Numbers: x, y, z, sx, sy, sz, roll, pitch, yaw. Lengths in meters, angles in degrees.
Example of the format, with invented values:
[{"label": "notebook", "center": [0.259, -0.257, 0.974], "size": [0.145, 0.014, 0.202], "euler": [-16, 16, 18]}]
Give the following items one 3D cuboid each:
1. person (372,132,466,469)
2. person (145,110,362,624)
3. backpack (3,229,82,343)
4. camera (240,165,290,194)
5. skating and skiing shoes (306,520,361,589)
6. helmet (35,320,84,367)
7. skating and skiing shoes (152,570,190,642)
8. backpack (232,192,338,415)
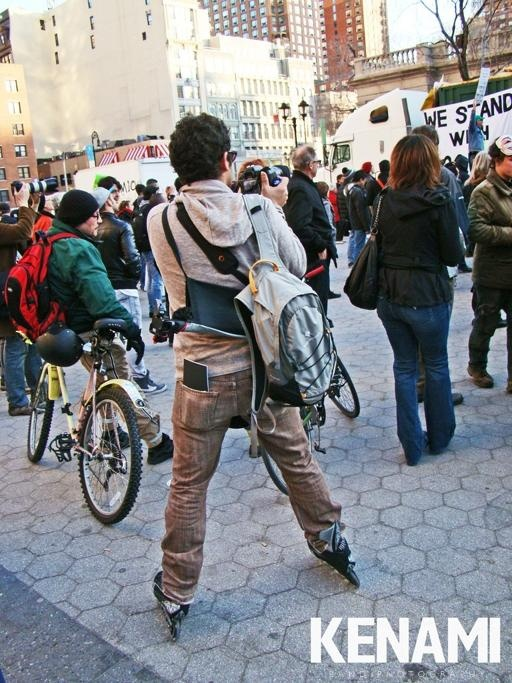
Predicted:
[{"label": "person", "center": [1.143, -0.290, 3.723], "size": [0.701, 2.110, 0.603], "euler": [-9, 13, -13]}, {"label": "person", "center": [-0.029, 0.136, 2.120], "size": [0.901, 1.896, 0.700], "euler": [-5, 11, -28]}, {"label": "backpack", "center": [-1.360, -0.303, 3.432], "size": [0.222, 0.736, 0.397], "euler": [-12, 17, -17]}, {"label": "camera", "center": [0.038, -0.673, 2.274], "size": [0.113, 0.082, 0.186], "euler": [-27, 0, 31]}, {"label": "skating and skiing shoes", "center": [0.370, 0.960, 2.453], "size": [0.127, 0.123, 0.311], "euler": [-16, 22, -42]}, {"label": "helmet", "center": [-1.188, 0.034, 3.309], "size": [0.276, 0.261, 0.208], "euler": [-2, 9, 28]}, {"label": "skating and skiing shoes", "center": [-0.361, 1.039, 2.233], "size": [0.088, 0.150, 0.331], "euler": [24, 12, -25]}, {"label": "backpack", "center": [0.097, -0.140, 1.927], "size": [0.264, 0.769, 0.291], "euler": [-1, 10, 31]}]
